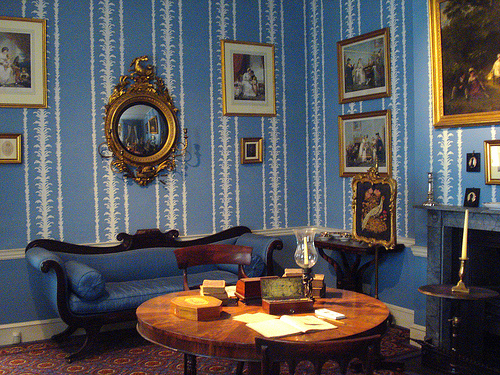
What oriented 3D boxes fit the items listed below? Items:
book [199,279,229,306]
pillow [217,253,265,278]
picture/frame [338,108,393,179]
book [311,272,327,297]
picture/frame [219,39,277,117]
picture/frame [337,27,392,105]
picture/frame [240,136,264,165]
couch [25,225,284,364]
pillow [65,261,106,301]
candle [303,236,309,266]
[{"bbox_3d":[-0.253,0.762,3.626,0.148,0.103,0.206,0,0,-38],"label":"book"},{"bbox_3d":[-0.102,0.921,5.679,0.342,0.427,0.329,6,1,-41],"label":"pillow"},{"bbox_3d":[1.466,-0.567,5.968,0.070,0.971,0.930,-3,2,-41],"label":"picture/frame"},{"bbox_3d":[0.540,0.757,3.721,0.090,0.148,0.145,1,2,18],"label":"book"},{"bbox_3d":[-0.063,-1.466,6.358,1.061,1.278,0.081,1,-1,-31],"label":"picture/frame"},{"bbox_3d":[1.461,-1.536,6.009,0.077,1.122,1.007,2,-5,-41],"label":"picture/frame"},{"bbox_3d":[0.007,-0.507,6.419,0.382,0.391,0.040,-1,1,-31],"label":"picture/frame"},{"bbox_3d":[-1.022,1.110,5.671,2.905,1.150,0.824,0,2,-35],"label":"couch"},{"bbox_3d":[-1.694,0.798,4.887,0.298,0.285,0.604,-1,9,-30],"label":"pillow"},{"bbox_3d":[0.411,0.462,3.489,0.046,0.218,0.064,0,5,7],"label":"candle"}]
